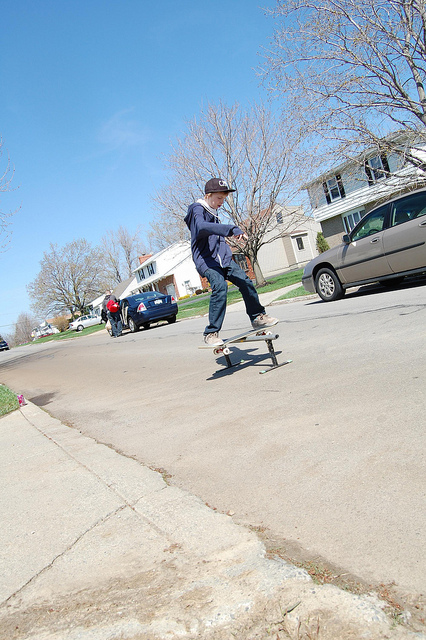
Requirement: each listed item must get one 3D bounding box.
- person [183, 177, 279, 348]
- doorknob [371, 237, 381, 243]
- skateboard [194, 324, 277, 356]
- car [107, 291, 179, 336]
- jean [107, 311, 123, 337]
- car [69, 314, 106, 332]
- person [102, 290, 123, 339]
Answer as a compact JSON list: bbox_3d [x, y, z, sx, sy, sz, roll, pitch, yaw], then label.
[{"bbox_3d":[0.087,-0.727,5.169,0.875,1.751,1.195,-13,4,9],"label":"person"},{"bbox_3d":[2.922,-1.446,8.139,0.058,0.066,0.192,-15,4,-18],"label":"doorknob"},{"bbox_3d":[0.344,0.294,6.414,1.068,0.139,0.306,-16,2,-23],"label":"skateboard"},{"bbox_3d":[-2.503,-0.428,18.396,2.004,1.596,1.074,-14,4,-11],"label":"car"},{"bbox_3d":[-4.061,0.153,18.793,0.658,1.033,0.418,-10,6,42],"label":"jean"},{"bbox_3d":[-14.772,0.299,53.199,4.755,1.604,1.975,-14,13,-30],"label":"car"},{"bbox_3d":[-4.214,-0.354,18.752,0.726,1.967,0.696,-17,31,-18],"label":"person"}]
